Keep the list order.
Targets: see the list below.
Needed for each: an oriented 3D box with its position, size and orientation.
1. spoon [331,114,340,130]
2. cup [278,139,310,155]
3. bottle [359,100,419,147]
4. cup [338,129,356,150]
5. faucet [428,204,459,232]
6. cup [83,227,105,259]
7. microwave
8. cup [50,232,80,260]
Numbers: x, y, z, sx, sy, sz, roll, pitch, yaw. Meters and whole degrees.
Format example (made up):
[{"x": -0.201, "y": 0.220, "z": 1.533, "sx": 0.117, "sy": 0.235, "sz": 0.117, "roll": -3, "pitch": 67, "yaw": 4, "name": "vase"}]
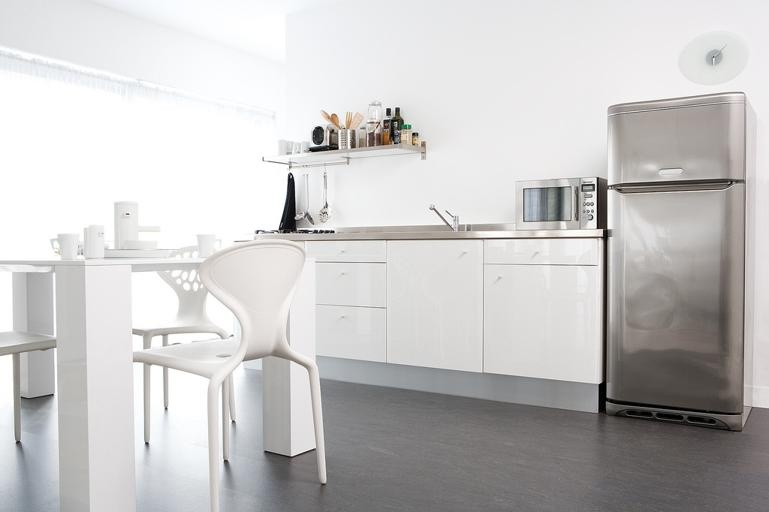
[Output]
[{"x": -0.434, "y": -1.217, "z": 5.008, "sx": 0.073, "sy": 0.126, "sz": 0.064, "roll": -1, "pitch": 7, "yaw": -5, "name": "spoon"}, {"x": -0.838, "y": -1.013, "z": 5.173, "sx": 0.157, "sy": 0.108, "sz": 0.260, "roll": 0, "pitch": 1, "yaw": -34, "name": "cup"}, {"x": -0.013, "y": -1.160, "z": 4.849, "sx": 0.620, "sy": 0.423, "sz": 0.353, "roll": 4, "pitch": 8, "yaw": 32, "name": "bottle"}, {"x": -0.316, "y": -1.036, "z": 4.902, "sx": 0.161, "sy": 0.189, "sz": 0.180, "roll": -1, "pitch": 7, "yaw": -4, "name": "cup"}, {"x": 0.497, "y": -0.330, "z": 4.621, "sx": 0.264, "sy": 0.204, "sz": 0.406, "roll": 0, "pitch": 7, "yaw": 4, "name": "faucet"}, {"x": -1.337, "y": -0.070, "z": 2.582, "sx": 0.082, "sy": 0.152, "sz": 0.091, "roll": -4, "pitch": 8, "yaw": -27, "name": "cup"}, {"x": 1.336, "y": -0.388, "z": 4.157, "sx": 0.624, "sy": 0.371, "sz": 0.410, "roll": 1, "pitch": 4, "yaw": 36, "name": "microwave"}, {"x": -1.489, "y": -0.049, "z": 2.630, "sx": 0.091, "sy": 0.119, "sz": 0.253, "roll": -3, "pitch": 8, "yaw": -24, "name": "cup"}]
